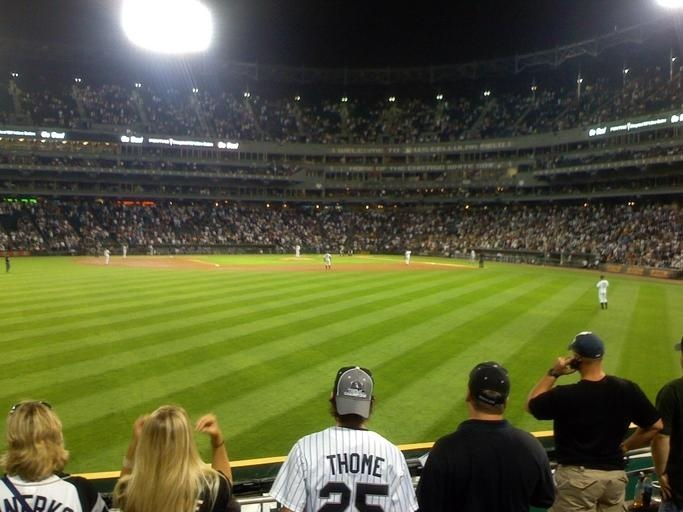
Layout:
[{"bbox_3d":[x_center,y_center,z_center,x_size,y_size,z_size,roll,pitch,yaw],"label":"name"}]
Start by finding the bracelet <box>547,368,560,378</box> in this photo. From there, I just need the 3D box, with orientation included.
[{"bbox_3d":[4.066,2.247,11.790,0.171,0.103,0.201,12,-10,-19],"label":"bracelet"}]

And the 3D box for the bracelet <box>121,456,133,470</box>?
[{"bbox_3d":[-3.819,3.663,10.918,0.162,0.180,0.185,6,-3,3],"label":"bracelet"}]
